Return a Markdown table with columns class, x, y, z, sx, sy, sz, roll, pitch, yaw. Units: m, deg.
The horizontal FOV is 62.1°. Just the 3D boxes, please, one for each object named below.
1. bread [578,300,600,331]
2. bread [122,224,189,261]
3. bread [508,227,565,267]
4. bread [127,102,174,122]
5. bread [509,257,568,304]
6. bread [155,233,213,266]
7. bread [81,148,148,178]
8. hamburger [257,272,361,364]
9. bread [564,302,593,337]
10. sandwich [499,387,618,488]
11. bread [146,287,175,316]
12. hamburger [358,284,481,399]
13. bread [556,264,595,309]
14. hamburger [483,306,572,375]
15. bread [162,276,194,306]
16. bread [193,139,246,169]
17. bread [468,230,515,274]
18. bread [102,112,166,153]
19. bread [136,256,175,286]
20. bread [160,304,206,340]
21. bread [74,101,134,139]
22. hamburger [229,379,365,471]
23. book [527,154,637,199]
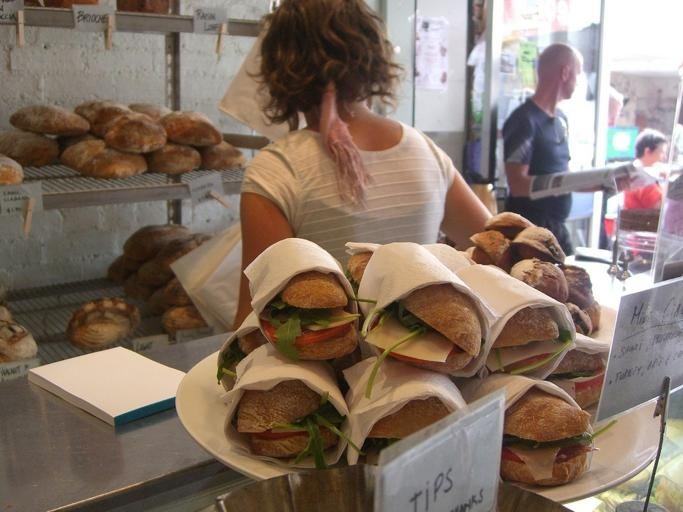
| class | x | y | z | sx | sy | sz | roll | pitch | yaw |
| --- | --- | --- | --- | --- | --- | --- | --- | --- | --- |
| bread | 0.379 | 0.089 | 0.851 | 0.020 | 0.044 | 0.045 | 6 | -3 | 10 |
| bread | -0.686 | -0.052 | 2.028 | 0.160 | 0.066 | 0.162 | -17 | 10 | 38 |
| bread | 0.285 | -0.010 | 0.834 | 0.066 | 0.050 | 0.087 | 23 | -17 | -33 |
| bread | -0.682 | -0.516 | 2.033 | 0.156 | 0.051 | 0.078 | 9 | 42 | -26 |
| bread | 0.285 | 0.035 | 0.784 | 0.101 | 0.056 | 0.062 | -1 | 13 | -10 |
| bread | -0.552 | -0.040 | 1.963 | 0.135 | 0.050 | 0.104 | -29 | 3 | 3 |
| bread | -0.702 | -0.288 | 1.765 | 0.204 | 0.085 | 0.118 | -6 | 15 | -30 |
| hamburger | -0.040 | 0.072 | 0.679 | 0.116 | 0.047 | 0.103 | 2 | 50 | -5 |
| bread | 0.343 | 0.090 | 0.813 | 0.020 | 0.052 | 0.039 | -28 | 4 | 35 |
| sandwich | 0.255 | 0.220 | 0.710 | 0.122 | 0.086 | 0.141 | -9 | 2 | -17 |
| bread | -0.630 | 0.157 | 1.949 | 0.129 | 0.066 | 0.042 | -22 | 8 | 37 |
| hamburger | 0.096 | 0.085 | 0.656 | 0.134 | 0.067 | 0.116 | -24 | 38 | -25 |
| bread | 0.339 | 0.044 | 0.849 | 0.047 | 0.063 | 0.026 | -8 | -19 | -48 |
| hamburger | 0.234 | 0.104 | 0.701 | 0.109 | 0.088 | 0.037 | -2 | 13 | -16 |
| bread | -0.574 | 0.128 | 1.926 | 0.126 | 0.111 | 0.033 | 6 | 14 | 18 |
| bread | -0.444 | -0.358 | 2.019 | 0.180 | 0.092 | 0.252 | -4 | 14 | -17 |
| bread | 0.224 | -0.009 | 0.830 | 0.046 | 0.024 | 0.066 | 29 | 0 | 3 |
| bread | -0.655 | -0.403 | 1.813 | 0.208 | 0.078 | 0.160 | 30 | 42 | 28 |
| bread | -0.649 | 0.040 | 1.946 | 0.100 | 0.050 | 0.130 | -39 | 15 | -11 |
| bread | -0.537 | 0.215 | 1.857 | 0.096 | 0.066 | 0.117 | 0 | -1 | 2 |
| bread | -0.820 | -0.472 | 1.929 | 0.190 | 0.091 | 0.154 | 8 | 17 | 29 |
| hamburger | -0.061 | 0.196 | 0.673 | 0.116 | 0.043 | 0.116 | 8 | 9 | -18 |
| book | 1.071 | -0.313 | 2.439 | 0.225 | 0.179 | 0.456 | -8 | 16 | -35 |
